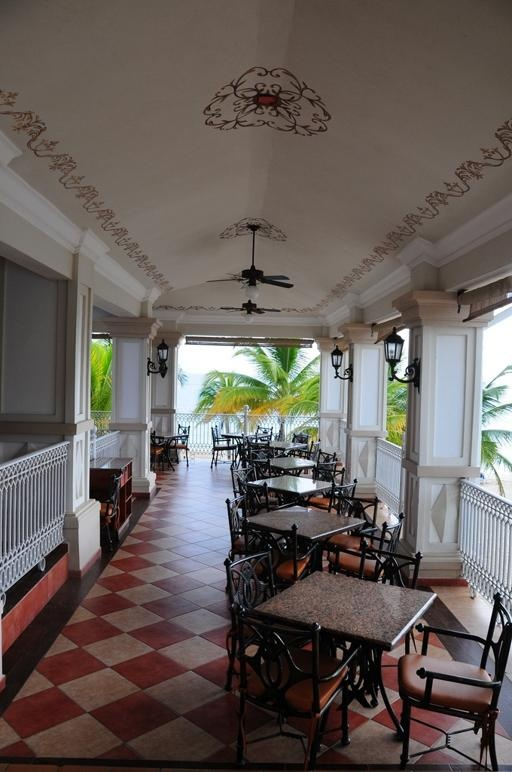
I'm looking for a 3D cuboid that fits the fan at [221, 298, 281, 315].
[{"bbox_3d":[-0.067,-1.514,9.467,0.938,0.370,0.915,2,0,-10],"label":"fan"}]

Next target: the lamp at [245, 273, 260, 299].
[{"bbox_3d":[-0.033,-1.100,5.730,0.119,0.225,0.387,2,-2,-3],"label":"lamp"}]

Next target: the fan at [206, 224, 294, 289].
[{"bbox_3d":[-0.041,-1.498,5.813,0.969,0.754,0.981,2,3,23],"label":"fan"}]

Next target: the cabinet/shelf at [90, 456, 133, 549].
[{"bbox_3d":[-1.751,1.436,6.091,0.368,0.598,1.014,-2,3,-7],"label":"cabinet/shelf"}]
